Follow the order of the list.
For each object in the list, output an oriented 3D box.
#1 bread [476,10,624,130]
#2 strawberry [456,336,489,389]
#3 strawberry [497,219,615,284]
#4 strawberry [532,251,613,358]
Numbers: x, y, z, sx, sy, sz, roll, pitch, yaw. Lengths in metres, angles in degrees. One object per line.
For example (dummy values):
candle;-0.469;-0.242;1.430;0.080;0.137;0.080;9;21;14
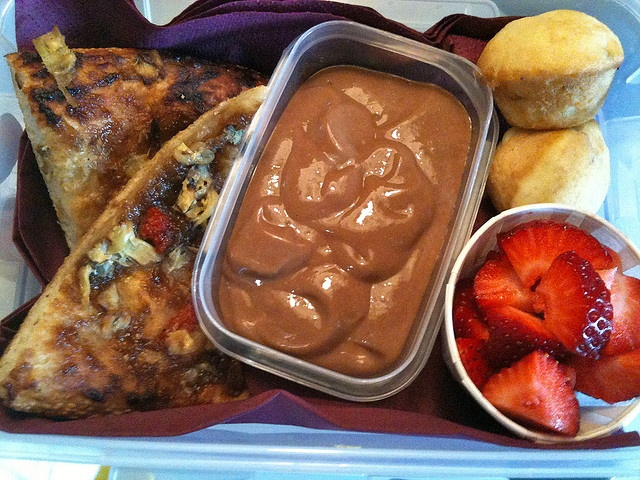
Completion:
bread;0.670;-0.514;1.790;0.386;0.311;0.405;-35;36;-31
strawberry;0.390;0.313;1.543;0.083;0.026;0.114;-16;75;-14
strawberry;0.577;0.018;1.537;0.184;0.056;0.188;32;72;28
strawberry;0.596;0.136;1.432;0.168;0.056;0.245;-3;93;37
